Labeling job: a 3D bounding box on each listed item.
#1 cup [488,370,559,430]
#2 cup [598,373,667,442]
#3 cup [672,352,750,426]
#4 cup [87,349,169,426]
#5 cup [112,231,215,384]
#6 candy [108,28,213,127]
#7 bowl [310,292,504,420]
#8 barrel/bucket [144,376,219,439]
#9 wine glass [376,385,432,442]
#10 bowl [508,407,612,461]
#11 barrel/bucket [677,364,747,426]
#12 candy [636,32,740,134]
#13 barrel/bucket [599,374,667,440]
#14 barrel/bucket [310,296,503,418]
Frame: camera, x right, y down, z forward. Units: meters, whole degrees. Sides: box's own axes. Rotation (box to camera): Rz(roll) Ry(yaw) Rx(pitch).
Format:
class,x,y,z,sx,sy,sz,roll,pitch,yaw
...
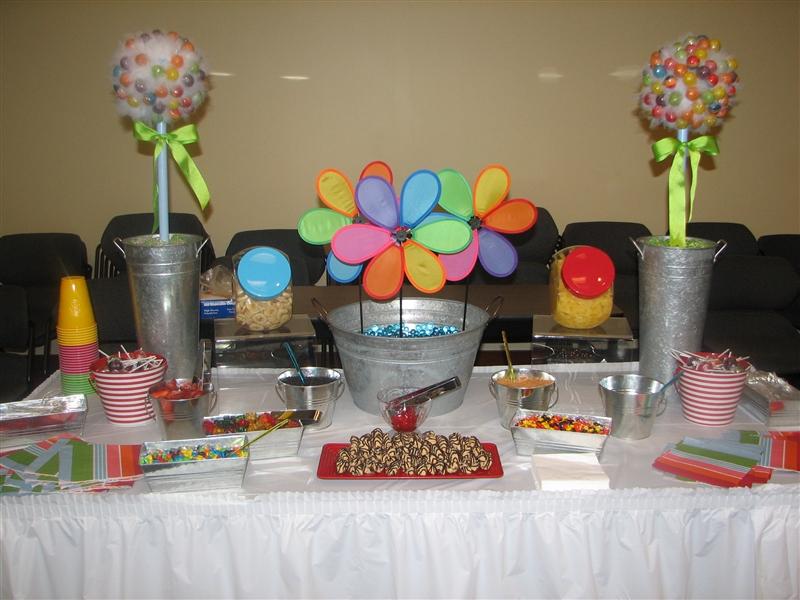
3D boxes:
class,x,y,z,sx,sy,sz,roll,pitch,yaw
cup,0.315,0.238,1.687,0.153,0.102,0.148,0,4,0
cup,0.553,0.254,1.592,0.124,0.118,0.179,-1,2,19
cup,0.806,0.224,1.696,0.180,0.144,0.191,1,-5,0
cup,-0.694,0.213,1.734,0.190,0.142,0.186,0,4,0
cup,-0.649,0.005,1.845,0.210,0.340,0.196,-3,7,0
candy,-0.650,-0.618,1.890,0.237,0.225,0.255,2,5,1
bowl,0.025,0.066,1.749,0.405,0.237,0.351,0,10,0
barrel/bucket,-0.495,0.241,1.521,0.127,0.107,0.142,0,0,9
wine glass,0.010,0.269,1.560,0.108,0.072,0.107,-1,-5,-2
bowl,0.376,0.310,1.539,0.171,0.058,0.109,1,10,2
barrel/bucket,0.769,0.232,1.664,0.141,0.112,0.151,0,-1,0
candy,0.799,-0.575,1.874,0.255,0.236,0.270,-9,6,41
barrel/bucket,0.553,0.252,1.598,0.124,0.117,0.179,-1,2,17
barrel/bucket,0.012,0.072,1.758,0.400,0.220,0.348,0,6,1
